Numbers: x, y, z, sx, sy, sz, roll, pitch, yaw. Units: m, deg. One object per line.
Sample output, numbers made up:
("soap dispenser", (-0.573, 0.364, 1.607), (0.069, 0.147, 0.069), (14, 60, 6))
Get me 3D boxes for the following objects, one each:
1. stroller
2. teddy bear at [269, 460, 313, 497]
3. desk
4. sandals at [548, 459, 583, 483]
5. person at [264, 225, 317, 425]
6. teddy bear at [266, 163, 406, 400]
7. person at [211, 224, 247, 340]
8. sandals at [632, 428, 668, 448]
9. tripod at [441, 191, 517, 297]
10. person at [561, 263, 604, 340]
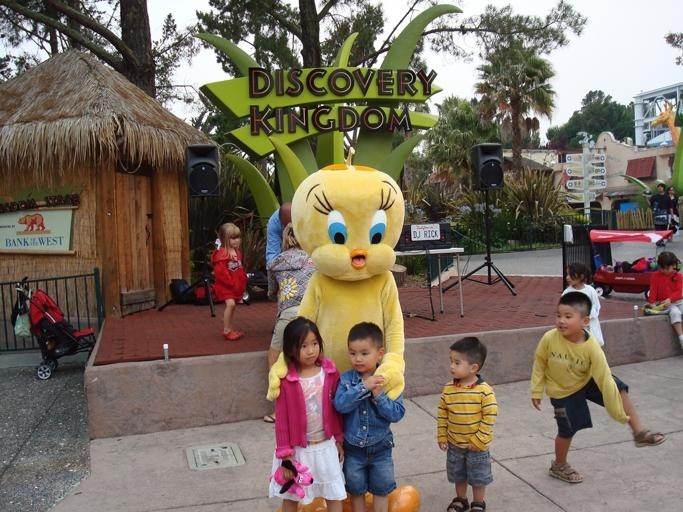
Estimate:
("stroller", (-4.188, 0.998, 7.494), (1.042, 1.396, 0.793), (-6, 5, -23))
("teddy bear", (-0.358, 1.406, 3.340), (0.264, 0.126, 0.274), (-26, -18, 25))
("desk", (1.335, 0.492, 8.502), (1.469, 1.255, 1.602), (-3, -4, 27))
("sandals", (1.835, 1.784, 4.216), (0.114, 0.098, 0.221), (0, -3, -44))
("person", (-0.517, 0.693, 5.256), (0.537, 2.166, 0.658), (6, -1, 18))
("teddy bear", (-0.092, -0.025, 3.872), (0.824, 1.910, 0.846), (-1, 10, -20))
("person", (-1.497, 0.306, 6.810), (0.434, 1.519, 0.749), (-4, 3, -15))
("sandals", (2.502, 1.490, 4.147), (0.230, 0.144, 0.118), (-5, -2, 8))
("tripod", (2.988, -0.383, 10.152), (1.330, 2.163, 1.261), (0, -1, -25))
("person", (2.428, 0.460, 5.140), (0.429, 0.961, 0.428), (-4, 8, -33))
